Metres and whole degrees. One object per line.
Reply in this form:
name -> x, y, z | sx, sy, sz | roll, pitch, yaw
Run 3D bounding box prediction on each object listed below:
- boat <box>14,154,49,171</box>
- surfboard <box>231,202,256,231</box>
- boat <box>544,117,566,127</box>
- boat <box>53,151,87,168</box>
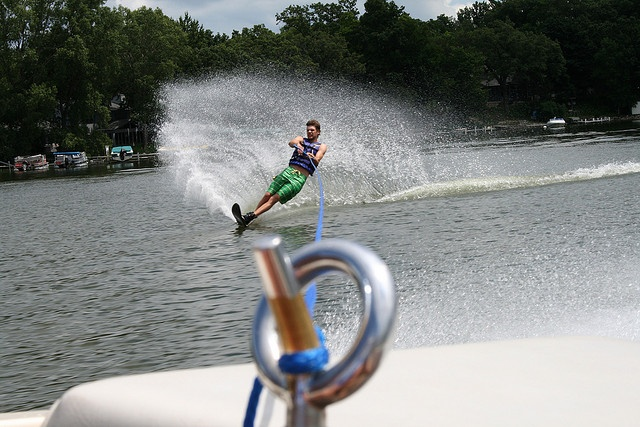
boat -> -20.198, -3.490, 43.506 | 1.586, 0.765, 1.873 | -3, 1, -20
surfboard -> -1.590, 0.181, 13.245 | 0.414, 0.772, 0.284 | -20, 41, -13
boat -> 28.681, -10.928, 75.382 | 2.391, 1.166, 3.391 | 2, 11, 28
boat -> -17.664, -3.814, 44.606 | 1.446, 0.795, 2.540 | -2, -1, 11
